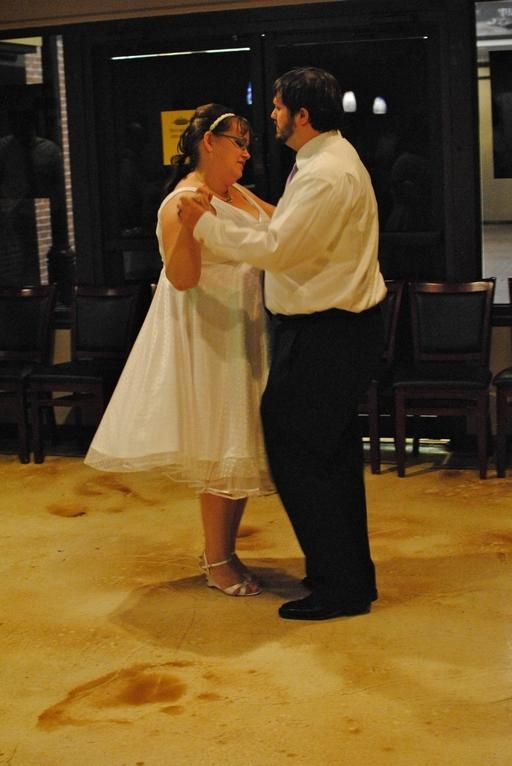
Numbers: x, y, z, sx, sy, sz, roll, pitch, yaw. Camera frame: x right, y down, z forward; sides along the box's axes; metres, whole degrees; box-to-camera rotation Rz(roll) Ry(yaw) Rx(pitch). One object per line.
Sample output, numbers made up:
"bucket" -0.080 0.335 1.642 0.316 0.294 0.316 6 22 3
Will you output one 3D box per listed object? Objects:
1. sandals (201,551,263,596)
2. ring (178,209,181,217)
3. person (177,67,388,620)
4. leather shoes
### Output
"sandals" -0.066 0.648 2.402 0.232 0.083 0.098 9 14 39
"ring" -0.199 -0.447 1.864 0.014 0.015 0.005 0 20 0
"person" 0.143 -0.053 2.013 0.418 1.565 0.545 0 5 32
"leather shoes" 0.209 0.684 2.234 0.330 0.137 0.107 3 3 -1
